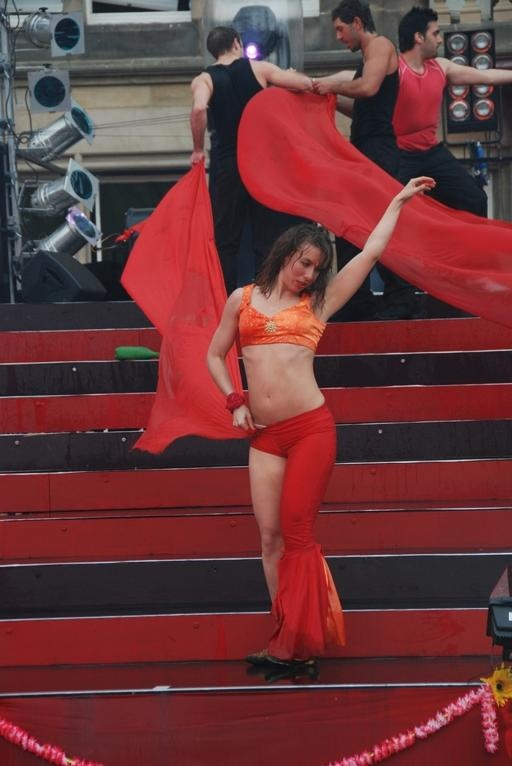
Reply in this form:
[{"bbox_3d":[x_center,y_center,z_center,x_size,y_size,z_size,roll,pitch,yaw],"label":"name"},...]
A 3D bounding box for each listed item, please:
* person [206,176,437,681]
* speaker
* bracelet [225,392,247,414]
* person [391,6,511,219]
[{"bbox_3d":[0.154,0.158,3.662,0.670,1.493,0.605,-1,14,6],"label":"person"},{"bbox_3d":[-1.217,-0.660,7.080,0.422,0.283,0.411,11,7,15],"label":"speaker"},{"bbox_3d":[-0.066,0.060,3.718,0.066,0.064,0.041,-26,-34,11],"label":"bracelet"},{"bbox_3d":[0.966,-1.379,5.794,0.530,1.047,0.418,0,14,6],"label":"person"}]
